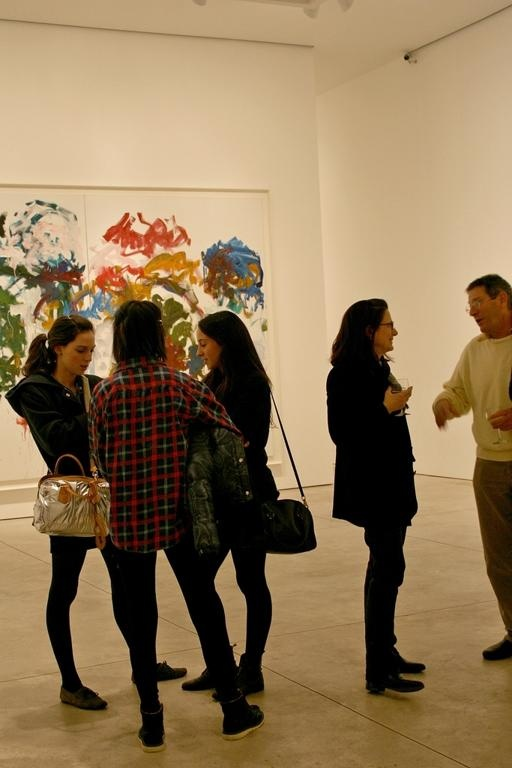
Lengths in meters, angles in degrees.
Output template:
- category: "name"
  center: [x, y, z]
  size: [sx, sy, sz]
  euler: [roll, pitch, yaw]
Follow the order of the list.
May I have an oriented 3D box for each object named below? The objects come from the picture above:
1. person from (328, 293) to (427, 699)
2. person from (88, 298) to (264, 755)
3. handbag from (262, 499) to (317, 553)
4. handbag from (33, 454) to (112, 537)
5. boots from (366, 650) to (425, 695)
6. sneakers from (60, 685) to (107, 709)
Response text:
- category: "person"
  center: [0.455, 0.435, 2.493]
  size: [0.326, 1.577, 0.530]
  euler: [-4, -7, 9]
- category: "person"
  center: [-0.258, 0.450, 2.050]
  size: [0.477, 1.437, 0.418]
  euler: [-3, -7, -1]
- category: "handbag"
  center: [0.111, 0.493, 2.249]
  size: [0.218, 0.204, 0.115]
  euler: [8, -28, -26]
- category: "handbag"
  center: [-0.643, 0.395, 2.263]
  size: [0.267, 0.291, 0.147]
  euler: [10, -16, -42]
- category: "boots"
  center: [0.563, 1.167, 2.597]
  size: [0.166, 0.112, 0.321]
  euler: [-10, -6, 10]
- category: "sneakers"
  center: [-0.690, 1.253, 2.579]
  size: [0.184, 0.066, 0.086]
  euler: [-2, -7, 33]
